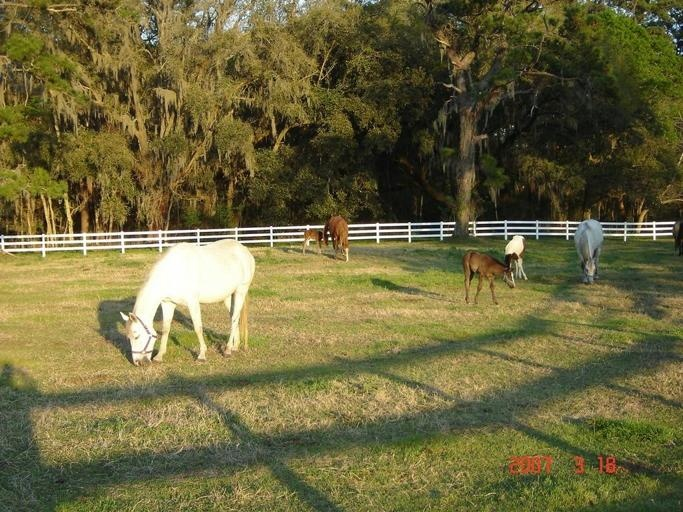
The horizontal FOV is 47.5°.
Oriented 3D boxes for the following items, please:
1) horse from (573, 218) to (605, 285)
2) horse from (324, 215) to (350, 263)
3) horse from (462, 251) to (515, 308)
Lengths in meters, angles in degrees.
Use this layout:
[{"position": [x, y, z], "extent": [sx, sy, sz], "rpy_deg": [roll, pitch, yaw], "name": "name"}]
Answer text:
[{"position": [9.678, -0.183, 30.413], "extent": [0.941, 2.276, 1.380], "rpy_deg": [3, 10, 19], "name": "horse"}, {"position": [-0.283, -0.899, 36.998], "extent": [1.183, 1.963, 4.219], "rpy_deg": [-1, 11, -2], "name": "horse"}, {"position": [5.110, 0.699, 27.451], "extent": [1.598, 1.821, 1.595], "rpy_deg": [1, 10, 9], "name": "horse"}]
